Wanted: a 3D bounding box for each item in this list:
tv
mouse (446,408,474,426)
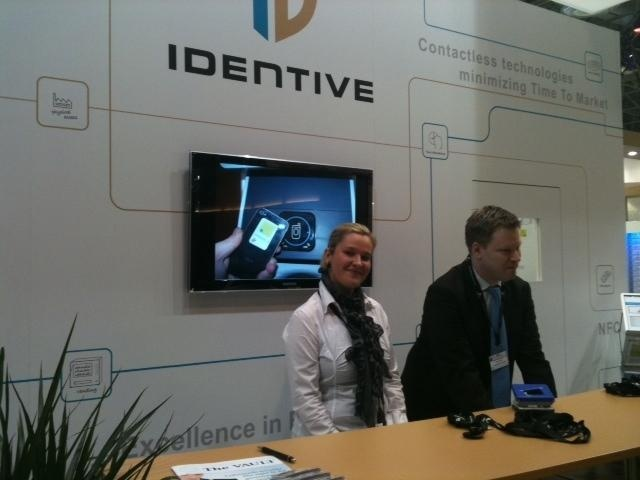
[{"bbox_3d":[-0.308,-0.100,3.531,0.812,0.644,0.041,2,-3,-26],"label":"tv"},{"bbox_3d":[0.641,0.787,2.498,0.070,0.029,0.069,-2,-3,-40],"label":"mouse"}]
